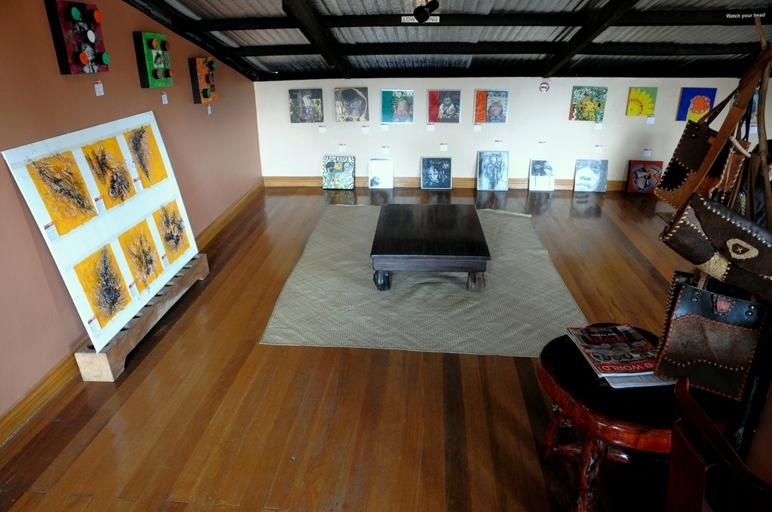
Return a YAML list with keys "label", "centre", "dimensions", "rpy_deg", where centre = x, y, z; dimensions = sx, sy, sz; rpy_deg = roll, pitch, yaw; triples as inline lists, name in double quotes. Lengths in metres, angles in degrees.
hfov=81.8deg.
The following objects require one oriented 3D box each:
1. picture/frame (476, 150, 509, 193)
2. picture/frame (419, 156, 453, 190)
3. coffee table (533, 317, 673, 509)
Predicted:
- label: "picture/frame"
  centre: [1.710, -1.372, 7.138]
  dimensions: [0.674, 0.854, 0.065]
  rpy_deg: [1, 25, 4]
- label: "picture/frame"
  centre: [0.820, -1.359, 7.229]
  dimensions: [0.527, 0.549, 0.052]
  rpy_deg: [1, 10, -1]
- label: "coffee table"
  centre: [1.260, 0.972, 2.605]
  dimensions: [0.619, 0.867, 0.721]
  rpy_deg: [-16, 25, -39]
